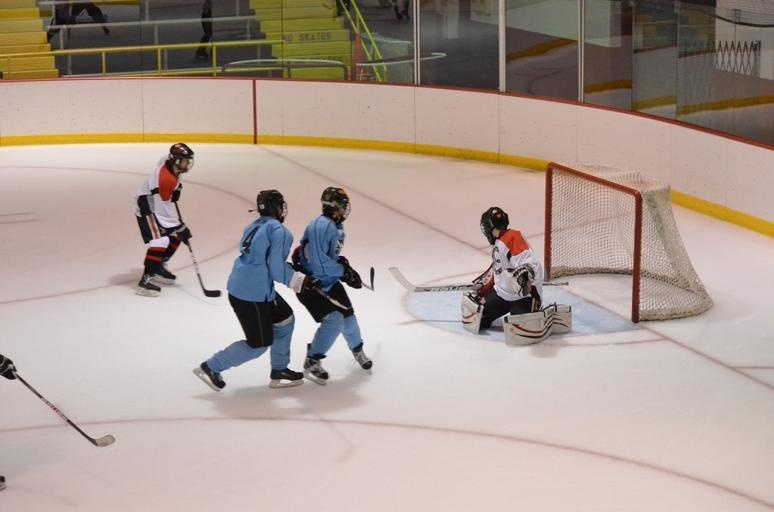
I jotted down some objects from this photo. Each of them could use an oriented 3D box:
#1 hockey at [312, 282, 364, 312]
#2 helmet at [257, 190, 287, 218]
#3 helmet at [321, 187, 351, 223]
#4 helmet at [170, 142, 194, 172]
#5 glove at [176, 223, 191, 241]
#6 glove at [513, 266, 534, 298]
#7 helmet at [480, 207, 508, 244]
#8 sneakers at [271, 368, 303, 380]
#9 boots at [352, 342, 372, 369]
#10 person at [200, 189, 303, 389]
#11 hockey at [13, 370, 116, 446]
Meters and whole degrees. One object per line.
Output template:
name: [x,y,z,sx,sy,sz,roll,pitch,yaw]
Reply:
hockey: [-0.412,0.322,5.557,0.268,0.225,0.093,-6,19,-6]
helmet: [-0.860,-0.398,5.423,0.247,0.219,0.177,-11,20,-30]
helmet: [-0.372,-0.414,5.708,0.290,0.259,0.230,-3,11,-28]
helmet: [-2.032,-1.006,7.249,0.327,0.284,0.233,4,28,-10]
glove: [-2.059,-0.236,7.312,0.138,0.171,0.174,-10,19,-18]
glove: [1.137,0.214,6.045,0.174,0.221,0.092,2,2,-18]
helmet: [0.932,-0.265,6.303,0.214,0.324,0.169,-2,19,6]
sneakers: [-0.767,0.907,5.590,0.258,0.101,0.087,0,4,-7]
boots: [-0.206,0.812,5.871,0.067,0.193,0.138,-43,-16,-7]
person: [-1.013,0.310,5.364,0.766,1.513,0.340,-11,21,-19]
hockey: [-2.283,1.025,5.046,0.807,0.512,0.388,14,25,43]
